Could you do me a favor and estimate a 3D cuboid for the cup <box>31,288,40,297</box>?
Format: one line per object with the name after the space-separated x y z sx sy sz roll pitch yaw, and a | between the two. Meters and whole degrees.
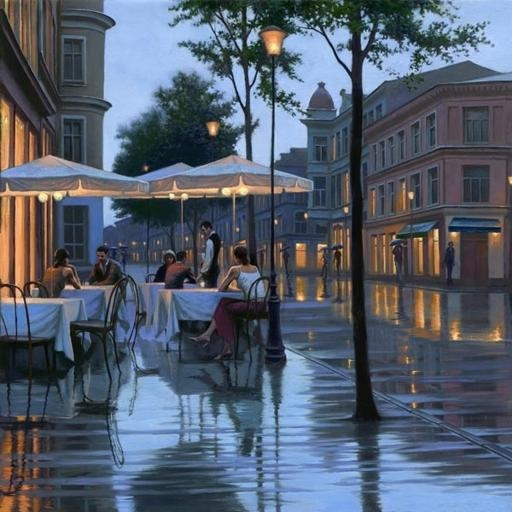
-3.848 0.642 25.523 0.132 0.139 0.142 3 -4 0 | cup
